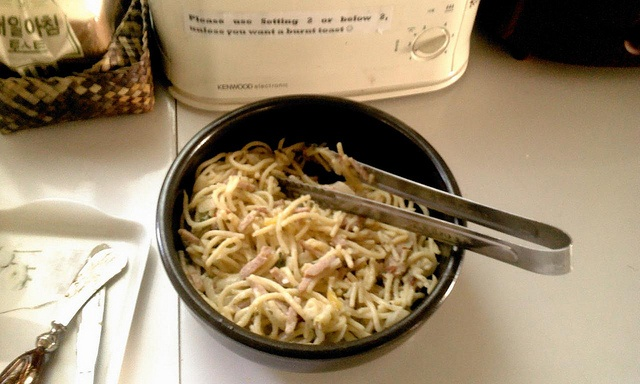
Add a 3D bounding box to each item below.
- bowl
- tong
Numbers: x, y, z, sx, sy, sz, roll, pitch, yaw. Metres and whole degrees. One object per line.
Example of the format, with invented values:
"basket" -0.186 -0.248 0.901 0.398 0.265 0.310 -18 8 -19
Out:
"bowl" -0.025 0.095 1.095 0.542 0.237 0.550 1 81 -9
"tong" 0.207 0.031 1.072 0.602 0.176 0.110 25 59 11
